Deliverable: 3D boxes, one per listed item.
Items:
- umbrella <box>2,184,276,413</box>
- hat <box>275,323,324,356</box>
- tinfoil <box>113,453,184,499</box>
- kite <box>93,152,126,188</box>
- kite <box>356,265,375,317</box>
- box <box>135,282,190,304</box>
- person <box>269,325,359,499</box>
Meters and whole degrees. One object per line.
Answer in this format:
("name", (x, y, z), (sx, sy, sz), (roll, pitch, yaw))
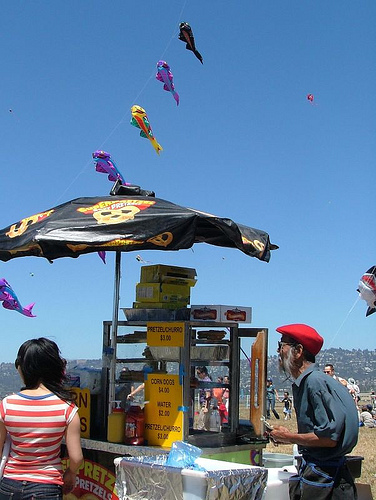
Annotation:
("umbrella", (-0.326, 0.218, 4.343), (1.858, 1.453, 1.765), (1, 0, 14))
("hat", (0.557, 0.429, 2.952), (0.254, 0.116, 0.195), (24, 1, -3))
("tinfoil", (-0.203, 1.147, 2.949), (0.326, 0.178, 0.308), (0, -5, -10))
("kite", (-0.900, -0.901, 6.408), (0.118, 0.418, 0.486), (13, -14, -33))
("kite", (3.510, 0.722, 11.319), (0.295, 0.718, 0.476), (9, -12, -18))
("box", (-0.191, 0.326, 4.386), (0.319, 0.178, 0.420), (2, -3, 24))
("person", (0.591, 0.782, 2.817), (0.429, 0.831, 0.373), (-3, -14, 34))
